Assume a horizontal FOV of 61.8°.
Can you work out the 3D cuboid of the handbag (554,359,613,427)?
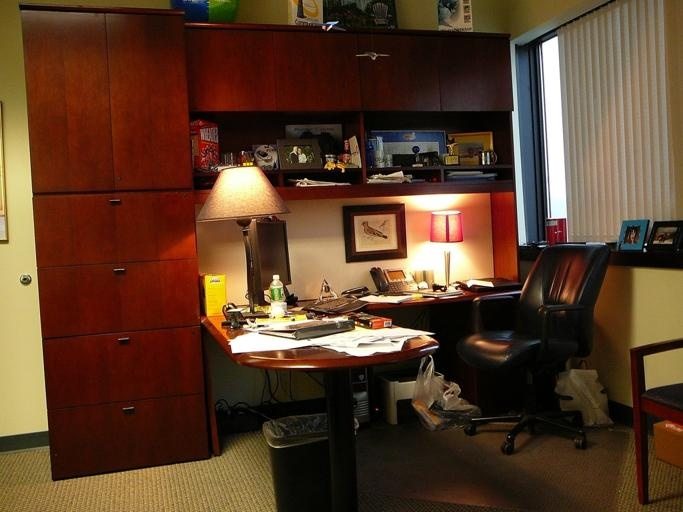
[{"bbox_3d":[1.678,0.939,4.176,0.339,0.485,0.489,-7,0,-4],"label":"handbag"}]

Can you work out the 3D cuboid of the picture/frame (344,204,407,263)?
[{"bbox_3d":[0.241,-0.189,4.476,0.431,0.405,0.033,-2,0,-21],"label":"picture/frame"}]

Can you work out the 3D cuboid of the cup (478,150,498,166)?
[{"bbox_3d":[1.138,-0.764,4.422,0.152,0.113,0.092,-1,1,-4],"label":"cup"}]

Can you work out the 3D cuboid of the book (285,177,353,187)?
[{"bbox_3d":[-0.166,-0.529,4.103,0.449,0.061,0.240,0,14,11],"label":"book"}]

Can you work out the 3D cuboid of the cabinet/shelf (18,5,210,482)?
[{"bbox_3d":[-1.433,-0.088,3.635,1.059,2.909,0.543,-6,13,-10],"label":"cabinet/shelf"}]

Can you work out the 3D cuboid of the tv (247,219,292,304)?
[{"bbox_3d":[-0.482,0.038,3.702,0.165,0.539,0.526,-2,5,12],"label":"tv"}]

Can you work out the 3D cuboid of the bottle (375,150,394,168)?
[{"bbox_3d":[0.318,-0.722,4.305,0.161,0.164,0.096,-2,7,-7],"label":"bottle"}]

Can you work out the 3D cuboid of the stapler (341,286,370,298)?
[{"bbox_3d":[0.107,0.274,4.230,0.122,0.048,0.098,-16,-2,4],"label":"stapler"}]
